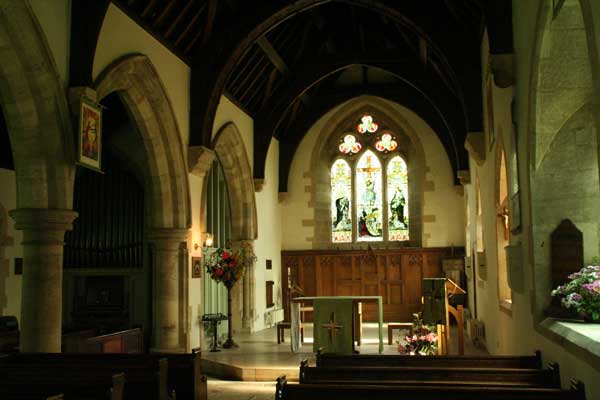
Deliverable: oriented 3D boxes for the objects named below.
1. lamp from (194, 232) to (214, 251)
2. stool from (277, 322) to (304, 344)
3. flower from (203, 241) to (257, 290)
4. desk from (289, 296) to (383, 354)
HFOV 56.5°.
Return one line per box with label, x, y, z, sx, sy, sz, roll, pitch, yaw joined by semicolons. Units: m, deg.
lamp;-2.001;0.849;11.509;0.343;0.466;0.251;-3;-8;21
stool;-0.209;2.703;11.606;0.546;0.572;0.574;-2;-18;6
flower;-1.567;1.368;11.583;0.978;0.923;0.932;-11;-4;11
desk;0.704;2.237;10.261;1.649;1.045;0.919;-2;-2;16
